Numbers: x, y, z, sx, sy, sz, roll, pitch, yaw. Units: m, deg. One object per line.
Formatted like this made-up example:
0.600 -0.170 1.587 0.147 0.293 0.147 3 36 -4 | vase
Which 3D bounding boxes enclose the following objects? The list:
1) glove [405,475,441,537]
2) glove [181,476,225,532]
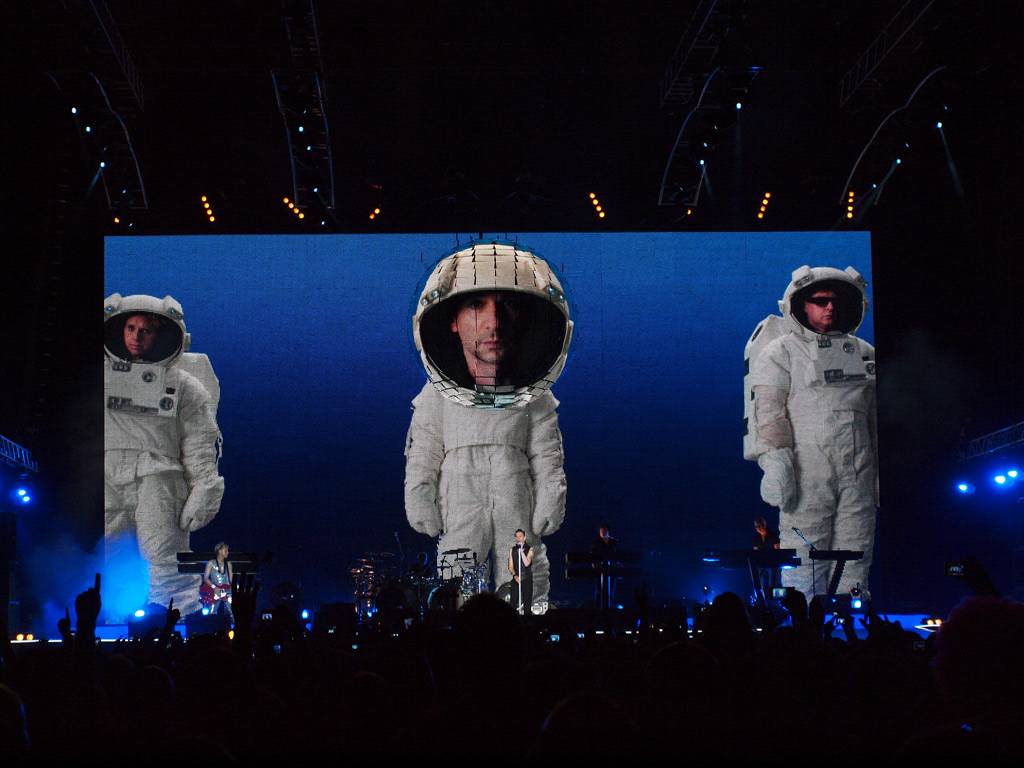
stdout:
-1.386 1.938 18.942 0.524 0.887 0.376 3 -24 -6 | glove
-5.003 1.930 19.505 0.644 0.911 0.361 25 -6 30 | glove
